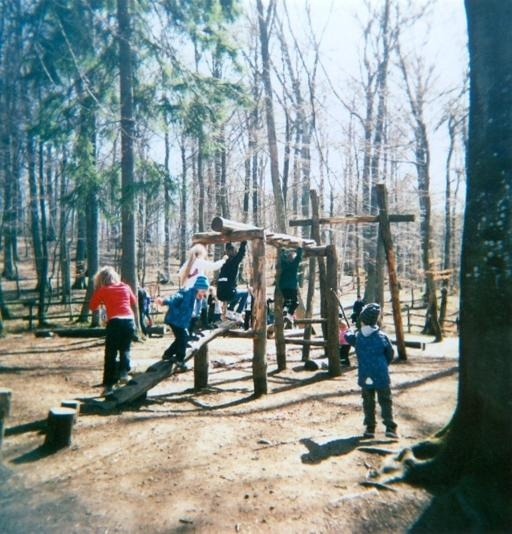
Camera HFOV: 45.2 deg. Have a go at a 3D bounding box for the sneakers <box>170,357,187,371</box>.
[{"bbox_3d":[-1.108,1.440,8.958,0.186,0.246,0.476,1,3,-2],"label":"sneakers"}]

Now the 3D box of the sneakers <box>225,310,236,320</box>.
[{"bbox_3d":[-0.481,0.905,11.518,0.167,0.063,0.135,15,-1,-23],"label":"sneakers"}]

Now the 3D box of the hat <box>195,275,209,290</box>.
[{"bbox_3d":[-0.759,0.223,8.820,0.151,0.214,0.329,2,3,24],"label":"hat"}]

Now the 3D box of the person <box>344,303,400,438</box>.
[{"bbox_3d":[1.408,1.246,7.490,0.627,1.559,0.883,1,3,9],"label":"person"}]

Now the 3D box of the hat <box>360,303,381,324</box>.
[{"bbox_3d":[1.412,0.566,7.605,0.192,0.282,0.246,13,-14,12],"label":"hat"}]

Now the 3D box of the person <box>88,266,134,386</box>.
[{"bbox_3d":[-1.958,0.918,8.446,0.572,1.850,1.314,0,3,-12],"label":"person"}]

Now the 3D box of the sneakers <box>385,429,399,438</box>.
[{"bbox_3d":[1.598,1.958,7.261,0.124,0.147,0.082,3,-3,-21],"label":"sneakers"}]
